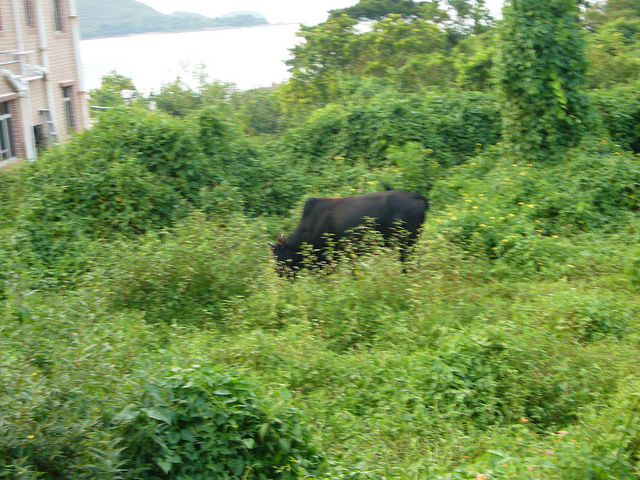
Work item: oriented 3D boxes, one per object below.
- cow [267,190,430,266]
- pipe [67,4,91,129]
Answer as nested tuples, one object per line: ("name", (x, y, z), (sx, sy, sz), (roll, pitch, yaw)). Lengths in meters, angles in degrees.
("cow", (0.432, -0.327, 8.575), (3.078, 1.216, 1.337), (-2, 13, 9))
("pipe", (-7.308, -5.264, 18.165), (0.548, 3.668, 1.375), (-1, 14, -20))
